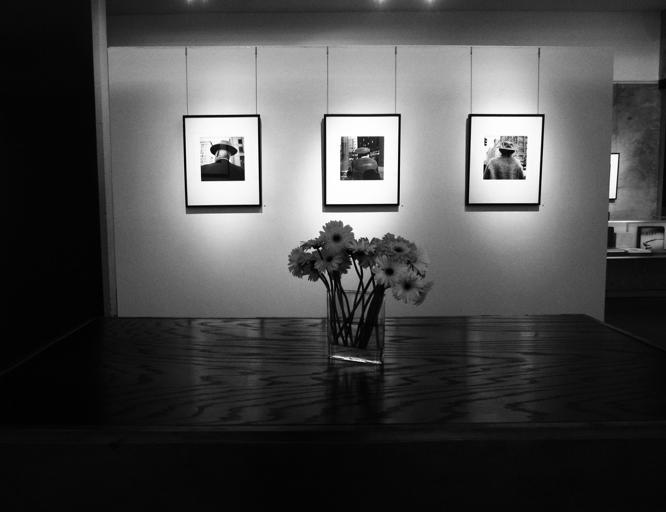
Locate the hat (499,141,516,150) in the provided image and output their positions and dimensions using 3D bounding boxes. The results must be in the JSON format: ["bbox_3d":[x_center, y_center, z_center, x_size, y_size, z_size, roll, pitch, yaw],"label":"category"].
[{"bbox_3d":[1.586,-0.999,5.263,0.144,0.087,0.026,-3,14,-8],"label":"hat"}]

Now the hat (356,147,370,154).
[{"bbox_3d":[0.265,-0.948,5.220,0.059,0.031,0.084,16,34,32],"label":"hat"}]

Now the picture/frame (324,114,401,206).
[{"bbox_3d":[0.247,-0.907,5.235,0.740,0.914,0.031,0,7,2],"label":"picture/frame"}]

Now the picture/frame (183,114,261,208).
[{"bbox_3d":[-1.015,-0.901,5.241,0.731,0.940,0.031,0,7,2],"label":"picture/frame"}]

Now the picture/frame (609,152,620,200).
[{"bbox_3d":[3.022,-0.879,6.212,0.054,0.582,0.425,1,14,31],"label":"picture/frame"}]

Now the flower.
[{"bbox_3d":[0.154,0.066,2.554,0.520,0.492,0.543,4,-1,28],"label":"flower"}]
